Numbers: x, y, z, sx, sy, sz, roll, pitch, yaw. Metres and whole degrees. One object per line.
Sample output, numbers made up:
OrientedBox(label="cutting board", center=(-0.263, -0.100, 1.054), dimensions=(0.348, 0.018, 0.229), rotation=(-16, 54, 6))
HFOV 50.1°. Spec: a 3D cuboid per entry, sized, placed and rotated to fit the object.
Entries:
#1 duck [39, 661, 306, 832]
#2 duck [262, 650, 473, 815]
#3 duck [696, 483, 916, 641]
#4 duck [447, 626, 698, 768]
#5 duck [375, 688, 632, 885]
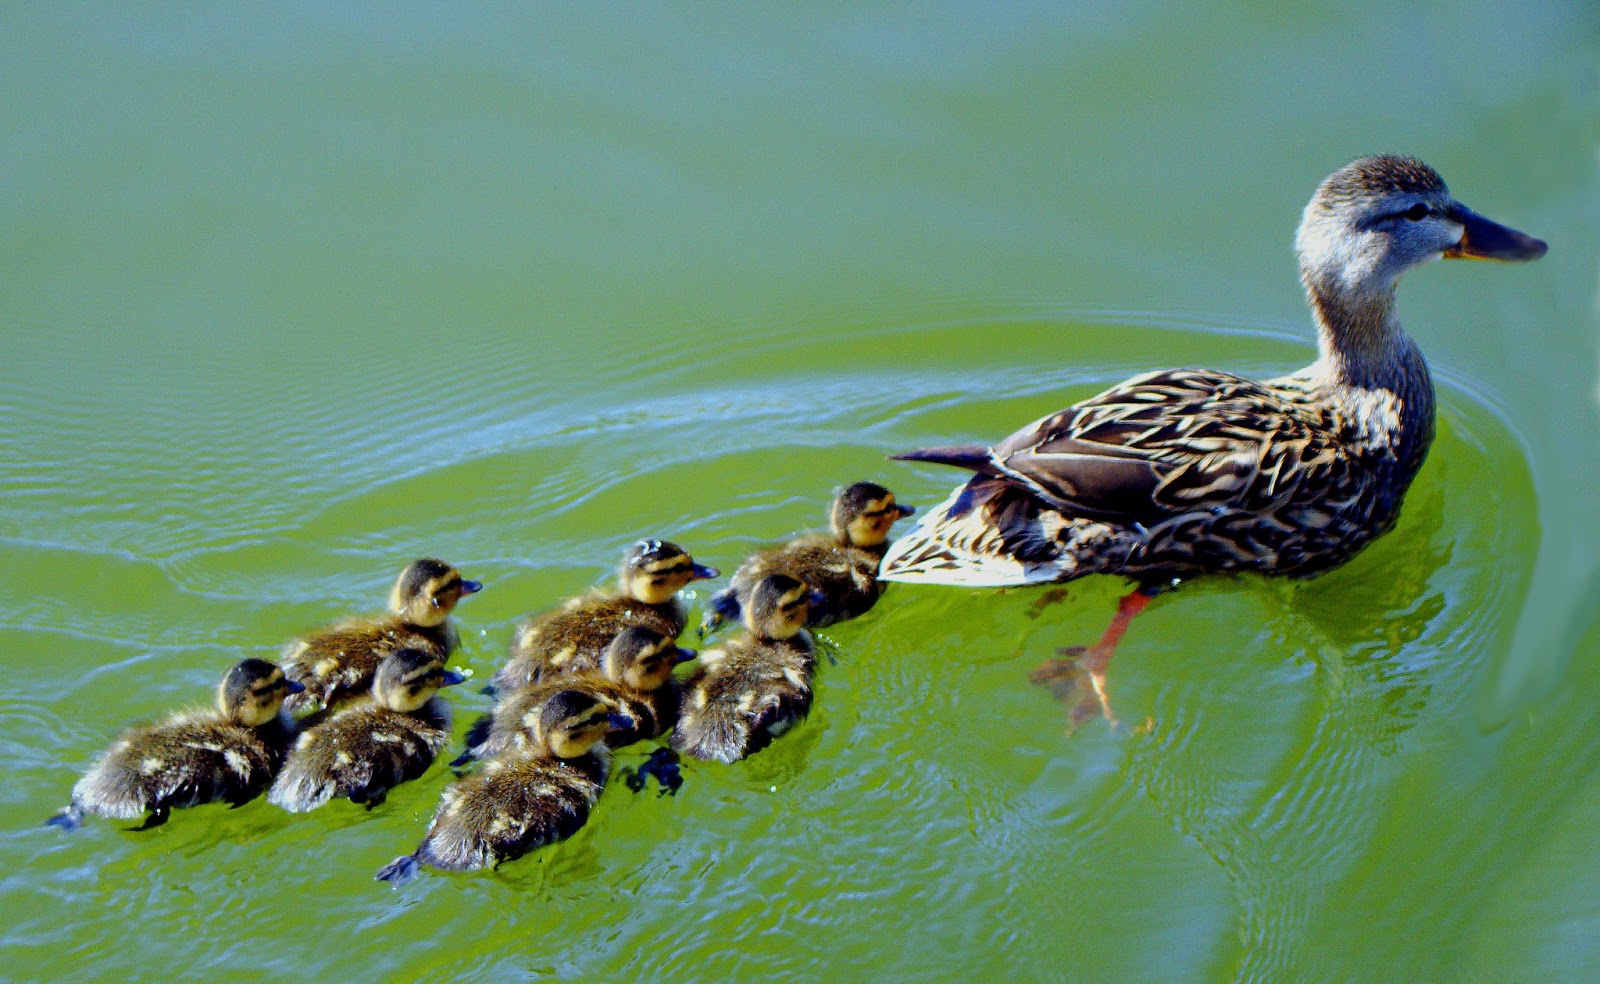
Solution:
OrientedBox(label="duck", center=(-2.502, 1.040, 6.908), dimensions=(0.963, 0.544, 0.507), rotation=(-8, 13, -8))
OrientedBox(label="duck", center=(-1.789, 0.955, 6.963), dimensions=(0.491, 0.536, 0.842), rotation=(33, 37, 32))
OrientedBox(label="duck", center=(0.006, 0.349, 7.839), dimensions=(1.205, 0.657, 0.556), rotation=(-8, 16, -6))
OrientedBox(label="duck", center=(-0.938, 0.893, 7.213), dimensions=(1.133, 0.586, 0.486), rotation=(-10, 27, -7))
OrientedBox(label="duck", center=(-1.148, 1.177, 6.732), dimensions=(1.126, 0.520, 0.498), rotation=(-27, 43, -35))
